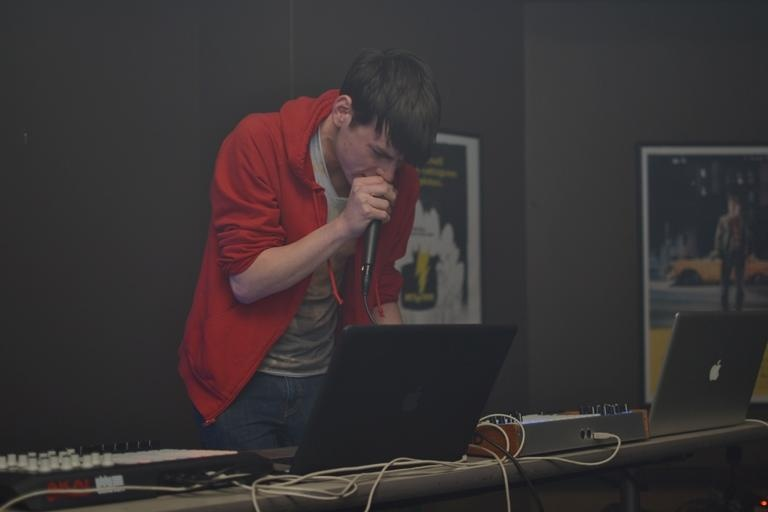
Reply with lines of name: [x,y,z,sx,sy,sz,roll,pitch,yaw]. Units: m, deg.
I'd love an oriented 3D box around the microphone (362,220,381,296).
microphone: [-0.054,0.006,3.040,0.053,0.315,0.046,8,-7,1]

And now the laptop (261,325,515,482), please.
laptop: [0.056,0.389,2.265,0.501,0.332,0.457,3,-4,-24]
